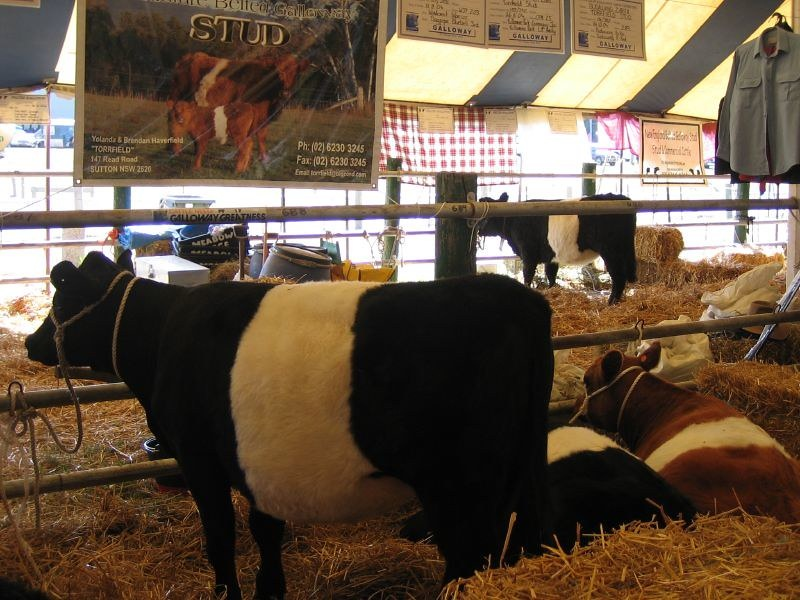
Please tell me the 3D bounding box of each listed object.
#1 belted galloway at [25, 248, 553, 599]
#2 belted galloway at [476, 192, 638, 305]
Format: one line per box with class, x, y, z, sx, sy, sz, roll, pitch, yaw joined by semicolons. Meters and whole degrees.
belted galloway;-0.363;0.524;2.764;1.909;1.374;0.375;7;12;13
belted galloway;1.579;-0.480;6.738;1.291;0.822;0.402;6;18;37
